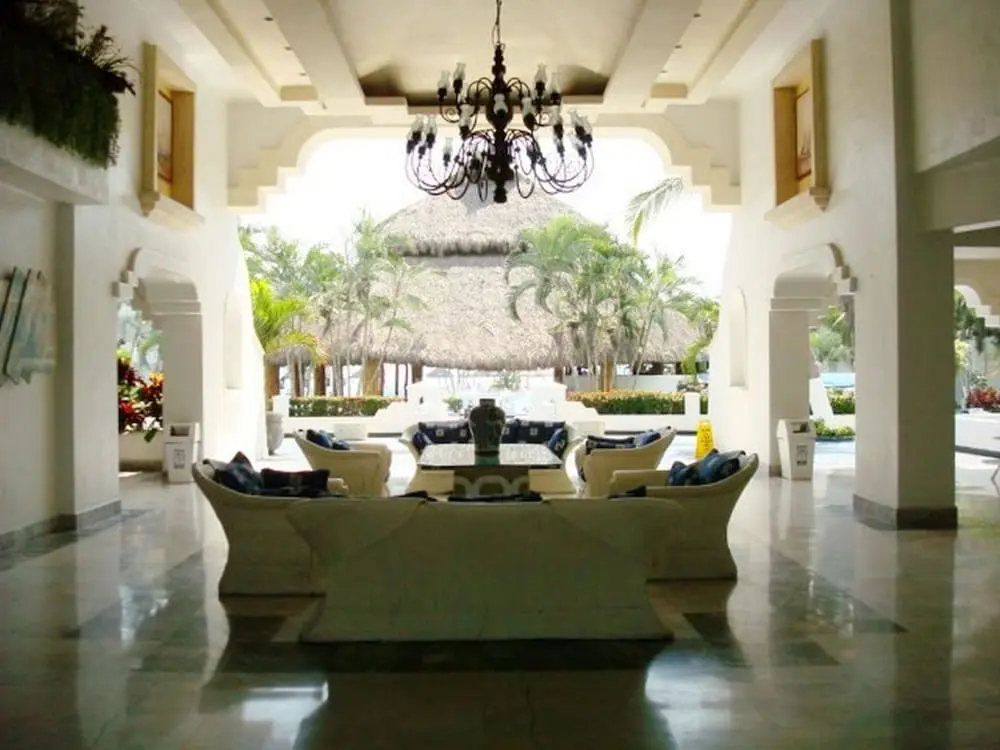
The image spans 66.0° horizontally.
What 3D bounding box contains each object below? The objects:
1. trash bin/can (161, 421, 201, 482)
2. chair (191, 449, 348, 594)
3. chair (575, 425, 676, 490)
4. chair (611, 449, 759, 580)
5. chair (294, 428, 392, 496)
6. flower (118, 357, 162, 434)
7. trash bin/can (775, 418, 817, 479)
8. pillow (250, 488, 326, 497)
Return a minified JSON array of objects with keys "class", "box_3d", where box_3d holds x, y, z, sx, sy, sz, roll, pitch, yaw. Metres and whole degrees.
[{"class":"trash bin/can","box_3d":[-4.443,1.058,10.783,0.476,0.827,0.477,-1,6,-24]},{"class":"chair","box_3d":[-1.858,1.180,6.324,1.048,0.991,0.921,-1,3,-12]},{"class":"chair","box_3d":[1.384,1.005,8.733,1.060,0.828,0.964,-2,1,-11]},{"class":"chair","box_3d":[1.543,1.174,6.215,1.157,1.173,0.992,1,-3,-1]},{"class":"chair","box_3d":[-1.793,1.006,8.810,0.985,0.911,0.858,-3,-1,-4]},{"class":"flower","box_3d":[-5.589,0.379,11.936,0.862,1.364,0.539,-2,1,29]},{"class":"trash bin/can","box_3d":[4.115,1.031,10.694,0.470,0.661,0.355,-2,1,19]},{"class":"pillow","box_3d":[-1.589,0.924,5.908,0.675,0.067,0.145,-2,1,18]}]
